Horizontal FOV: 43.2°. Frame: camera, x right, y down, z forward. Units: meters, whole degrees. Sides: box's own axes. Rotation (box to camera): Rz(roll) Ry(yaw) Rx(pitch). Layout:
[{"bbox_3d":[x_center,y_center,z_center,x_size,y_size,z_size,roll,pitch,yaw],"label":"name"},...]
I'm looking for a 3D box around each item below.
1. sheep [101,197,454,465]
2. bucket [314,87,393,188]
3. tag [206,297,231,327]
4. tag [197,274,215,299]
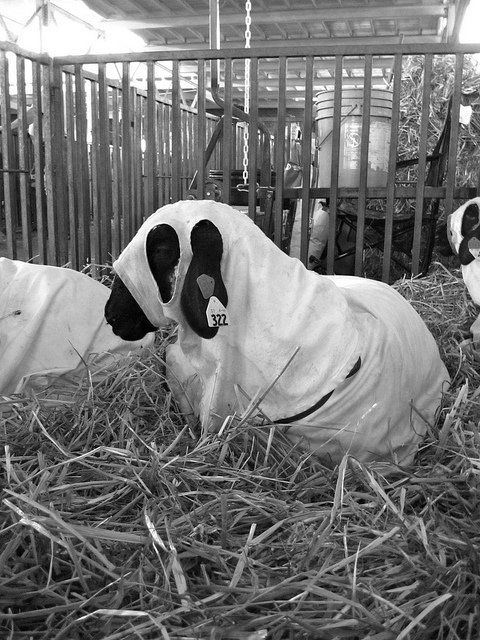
[{"bbox_3d":[0.056,-0.004,1.513,0.776,0.471,0.616,9,22,25],"label":"sheep"},{"bbox_3d":[0.763,-1.166,4.052,0.552,0.707,0.484,9,22,21],"label":"bucket"},{"bbox_3d":[-0.047,-0.017,1.287,0.005,0.067,0.060,-4,4,41],"label":"tag"},{"bbox_3d":[-0.073,-0.070,1.268,0.044,0.052,0.006,-14,10,-37],"label":"tag"}]
